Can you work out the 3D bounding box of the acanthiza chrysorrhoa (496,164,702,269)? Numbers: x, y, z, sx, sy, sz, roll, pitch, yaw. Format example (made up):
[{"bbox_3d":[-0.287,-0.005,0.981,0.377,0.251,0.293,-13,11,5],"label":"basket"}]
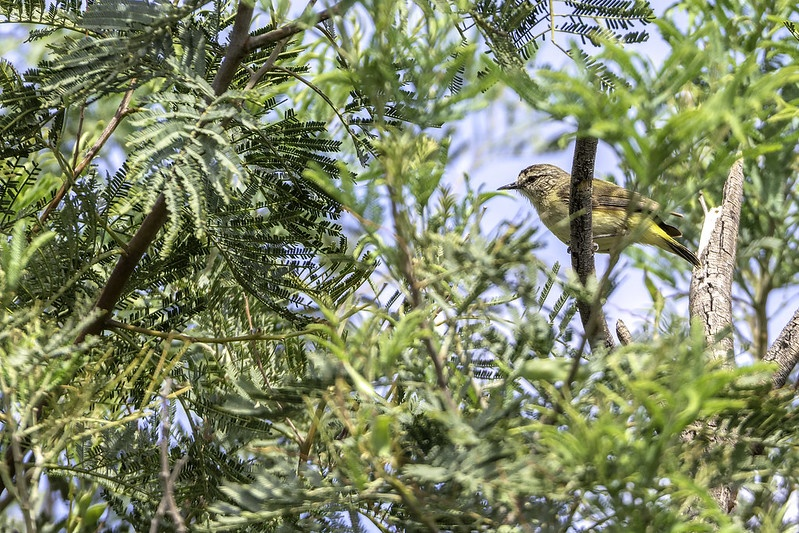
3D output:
[{"bbox_3d":[1.475,-0.378,7.120,1.499,0.649,0.532,4,-12,3],"label":"acanthiza chrysorrhoa"}]
